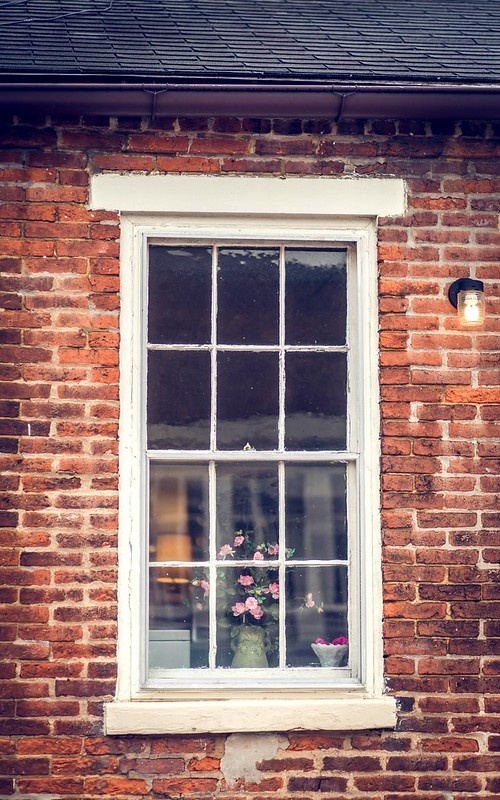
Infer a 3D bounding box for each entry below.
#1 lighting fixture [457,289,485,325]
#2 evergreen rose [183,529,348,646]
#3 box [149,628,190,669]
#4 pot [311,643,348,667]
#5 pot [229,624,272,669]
[{"bbox_3d":[0.927,-0.392,7.514,0.113,0.187,0.125,4,-18,-7],"label":"lighting fixture"},{"bbox_3d":[0.048,0.791,7.573,0.624,0.457,0.154,3,3,-4],"label":"evergreen rose"},{"bbox_3d":[-0.327,1.025,7.567,0.198,0.213,0.141,0,-6,1],"label":"box"},{"bbox_3d":[0.345,1.066,7.564,0.108,0.078,0.107,0,-20,0],"label":"pot"},{"bbox_3d":[0.000,1.034,7.551,0.153,0.180,0.163,0,-17,0],"label":"pot"}]
